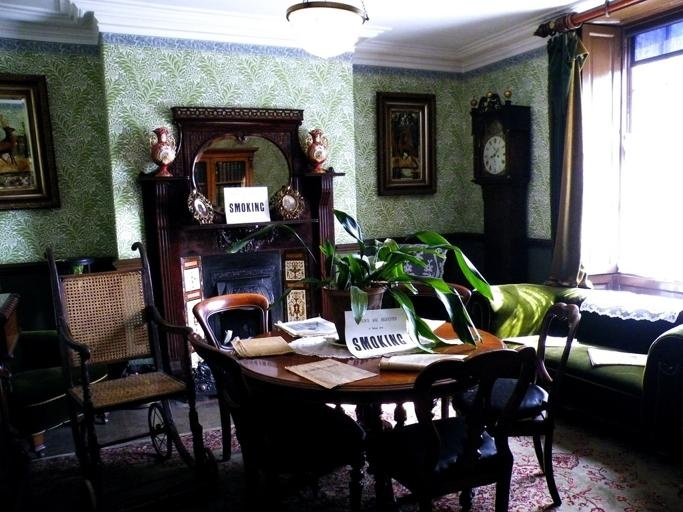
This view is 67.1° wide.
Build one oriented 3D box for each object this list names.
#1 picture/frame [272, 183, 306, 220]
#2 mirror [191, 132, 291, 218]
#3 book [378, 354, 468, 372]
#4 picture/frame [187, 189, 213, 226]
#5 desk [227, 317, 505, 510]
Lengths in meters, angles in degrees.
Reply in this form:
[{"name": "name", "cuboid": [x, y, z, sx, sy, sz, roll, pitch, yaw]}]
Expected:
[{"name": "picture/frame", "cuboid": [-0.475, -0.483, 4.543, 0.324, 0.303, 0.045, -9, -2, -42]}, {"name": "mirror", "cuboid": [-0.893, -0.694, 4.392, 0.828, 0.740, 0.058, -1, 1, -27]}, {"name": "book", "cuboid": [0.320, 0.474, 2.328, 0.209, 0.046, 0.203, -2, 0, 10]}, {"name": "picture/frame", "cuboid": [-1.175, -0.397, 4.246, 0.040, 0.344, 0.276, -20, 0, 30]}, {"name": "desk", "cuboid": [0.109, 0.513, 2.439, 1.003, 0.599, 0.977, 1, 6, 17]}]
